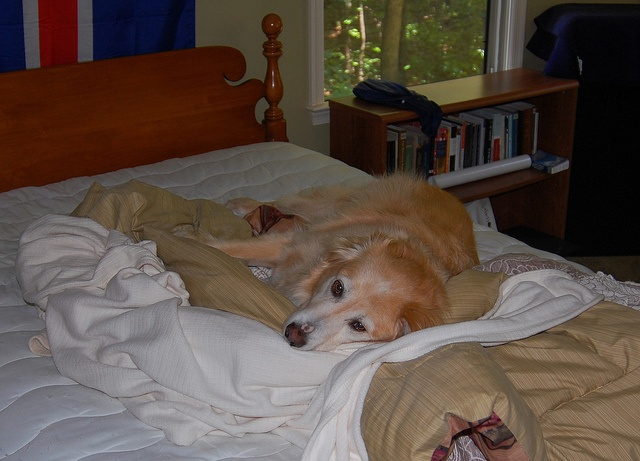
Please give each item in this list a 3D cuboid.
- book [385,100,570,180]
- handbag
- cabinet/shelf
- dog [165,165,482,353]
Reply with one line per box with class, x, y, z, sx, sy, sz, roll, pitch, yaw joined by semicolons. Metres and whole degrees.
book;0.892;-0.533;3.101;0.647;0.298;0.326;-15;37;-22
handbag;0.411;-0.681;2.947;0.471;0.176;0.267;19;42;16
cabinet/shelf;0.694;-0.462;2.800;1.043;0.798;0.383;-15;37;-27
dog;0.050;0.059;1.518;0.767;0.347;0.776;5;17;16
